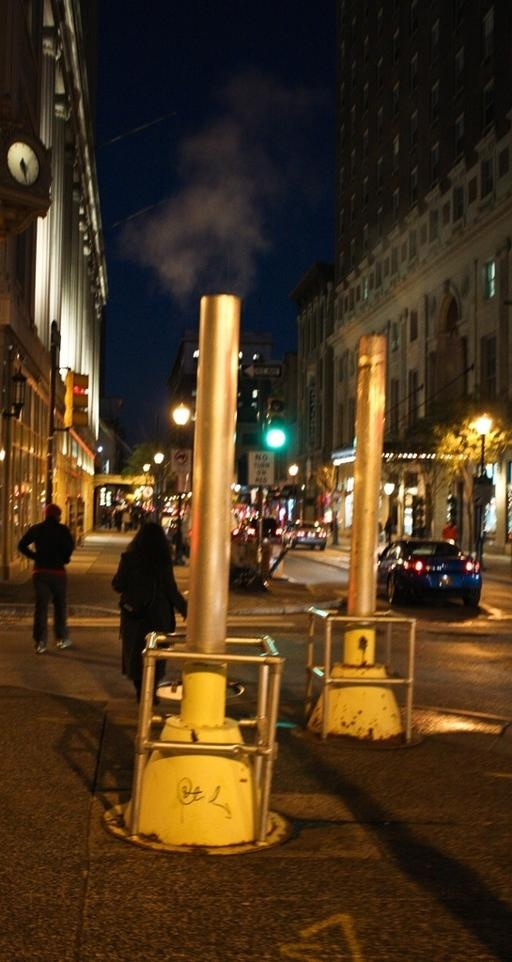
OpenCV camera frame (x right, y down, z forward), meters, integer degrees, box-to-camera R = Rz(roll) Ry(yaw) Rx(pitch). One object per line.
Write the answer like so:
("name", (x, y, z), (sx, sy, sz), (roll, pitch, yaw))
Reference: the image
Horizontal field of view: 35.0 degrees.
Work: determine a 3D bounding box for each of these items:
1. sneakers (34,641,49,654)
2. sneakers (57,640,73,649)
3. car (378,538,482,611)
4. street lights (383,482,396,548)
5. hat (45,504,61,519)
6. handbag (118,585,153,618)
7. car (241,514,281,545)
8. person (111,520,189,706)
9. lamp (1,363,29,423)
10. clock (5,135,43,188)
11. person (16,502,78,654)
("sneakers", (-2.896, 2.256, 10.911), (0.084, 0.143, 0.270), (2, -4, -9))
("sneakers", (-2.709, 2.312, 11.505), (0.077, 0.125, 0.247), (2, 2, 8))
("car", (4.049, 2.186, 19.137), (2.020, 1.554, 2.281), (1, -5, -3))
("street lights", (9.408, 2.126, 57.014), (0.661, 4.535, 0.814), (-8, 27, 2))
("hat", (-2.796, 0.444, 11.233), (0.147, 0.251, 0.226), (5, 2, -6))
("handbag", (-1.061, 1.053, 7.034), (0.312, 0.222, 0.111), (-1, -5, 27))
("car", (0.168, 1.756, 28.757), (1.327, 0.962, 2.099), (1, -8, 1))
("person", (-0.947, 1.144, 7.090), (0.591, 1.551, 0.651), (2, -4, -12))
("lamp", (-6.428, -2.294, 21.684), (0.444, 1.706, 3.359), (2, -5, -15))
("clock", (-4.418, -6.013, 15.391), (0.106, 1.077, 0.886), (-4, -11, 22))
("person", (-2.885, 1.326, 11.123), (0.684, 1.998, 0.656), (2, -4, -17))
